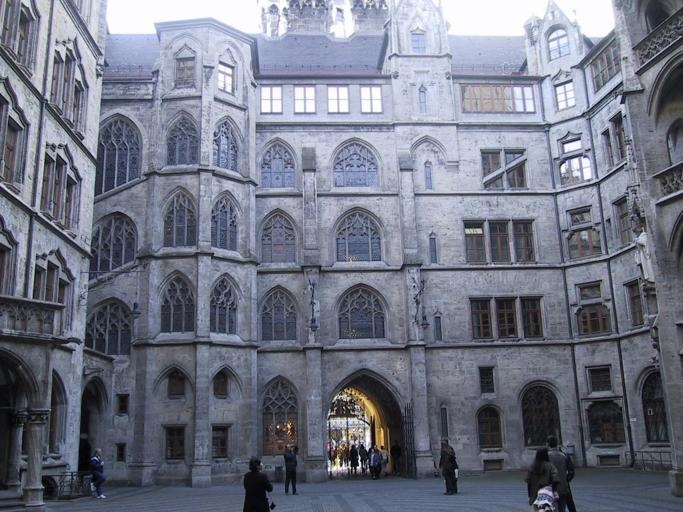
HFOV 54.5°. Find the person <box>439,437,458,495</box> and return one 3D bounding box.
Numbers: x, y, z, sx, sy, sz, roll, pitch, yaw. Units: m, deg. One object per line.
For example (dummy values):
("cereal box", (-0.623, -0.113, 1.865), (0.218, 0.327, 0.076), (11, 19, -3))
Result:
("person", (4.067, 7.987, 25.157), (0.553, 1.916, 1.184), (-5, -17, 9))
